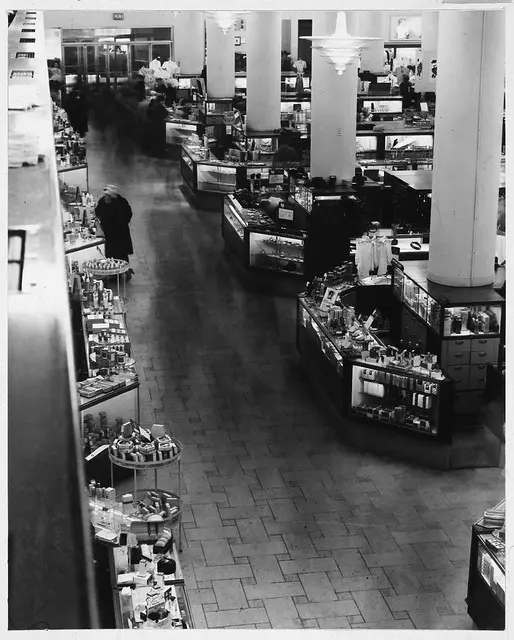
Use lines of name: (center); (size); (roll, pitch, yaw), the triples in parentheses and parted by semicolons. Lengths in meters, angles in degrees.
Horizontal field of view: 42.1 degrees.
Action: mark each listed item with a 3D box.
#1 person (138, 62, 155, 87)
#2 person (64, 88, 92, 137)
person: (-4.574, -10.537, 28.492); (0.353, 1.104, 0.847); (-18, 28, -32)
person: (-5.466, -6.303, 20.309); (0.681, 1.459, 1.896); (-3, 14, -15)
